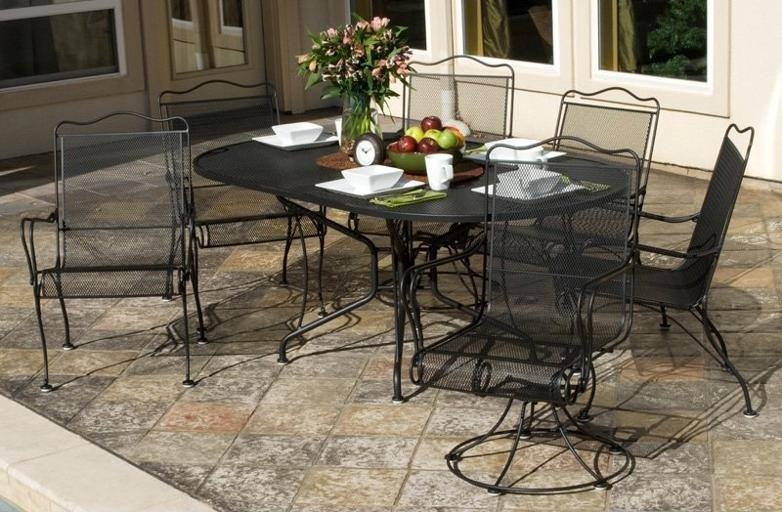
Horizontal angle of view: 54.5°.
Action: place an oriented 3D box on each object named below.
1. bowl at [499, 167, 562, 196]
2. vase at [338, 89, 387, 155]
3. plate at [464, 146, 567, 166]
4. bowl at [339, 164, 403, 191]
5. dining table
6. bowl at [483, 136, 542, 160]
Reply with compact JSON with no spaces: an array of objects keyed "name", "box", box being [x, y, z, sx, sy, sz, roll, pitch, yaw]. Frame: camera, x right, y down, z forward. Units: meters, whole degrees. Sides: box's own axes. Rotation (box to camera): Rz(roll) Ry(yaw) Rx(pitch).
[{"name":"bowl","box":[0.550,-0.299,3.077,0.190,0.031,0.188,-1,17,0]},{"name":"vase","box":[-0.093,-0.706,4.086,0.348,0.307,0.291,-5,11,-20]},{"name":"plate","box":[0.579,-0.478,3.625,0.318,0.023,0.281,-10,15,-35]},{"name":"bowl","box":[-0.103,-0.374,3.608,0.236,0.097,0.210,-17,25,-36]},{"name":"dining table","box":[0.043,0.106,4.062,1.442,0.885,2.221,22,13,16]},{"name":"bowl","box":[0.608,-0.529,3.784,0.286,0.082,0.347,-10,12,-36]}]
